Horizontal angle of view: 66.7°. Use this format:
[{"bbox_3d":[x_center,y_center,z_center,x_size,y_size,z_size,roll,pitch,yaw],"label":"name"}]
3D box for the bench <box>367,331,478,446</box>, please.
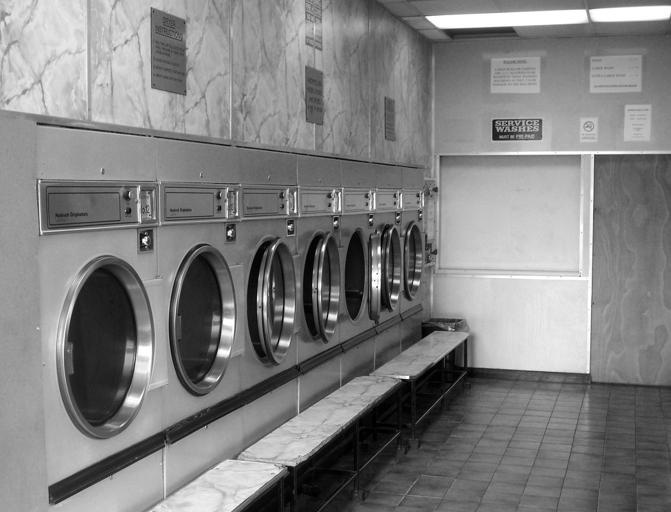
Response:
[{"bbox_3d":[1.185,1.473,6.228,0.476,0.590,1.883,-24,-9,34],"label":"bench"}]
